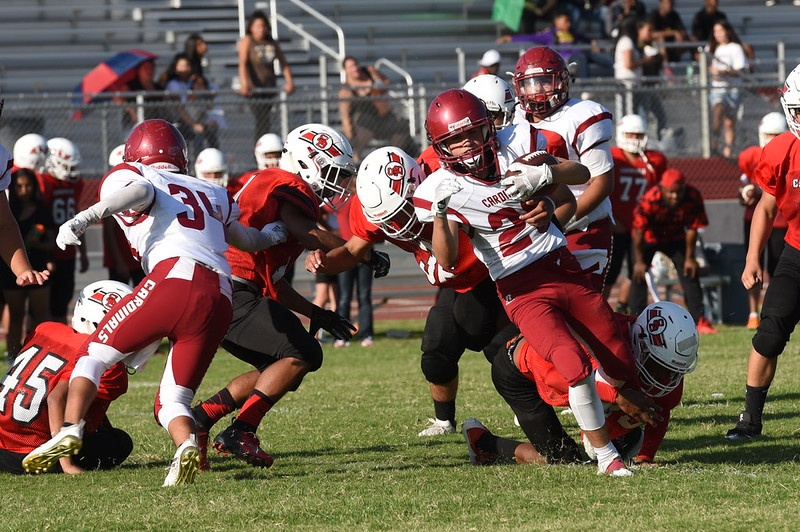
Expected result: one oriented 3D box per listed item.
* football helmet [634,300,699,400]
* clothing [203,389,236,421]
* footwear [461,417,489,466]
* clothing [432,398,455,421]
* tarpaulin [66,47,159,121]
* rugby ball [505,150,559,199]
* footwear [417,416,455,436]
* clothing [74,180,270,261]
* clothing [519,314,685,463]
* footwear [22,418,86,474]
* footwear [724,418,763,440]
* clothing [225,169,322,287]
[{"bbox_3d":[1.844,0.594,8.735,0.451,0.664,0.218,3,7,10],"label":"football helmet"},{"bbox_3d":[-1.280,1.000,9.063,0.179,0.200,0.231,-31,-5,8],"label":"clothing"},{"bbox_3d":[0.529,1.255,9.029,0.132,0.377,0.149,-16,3,-29],"label":"footwear"},{"bbox_3d":[0.340,1.118,9.778,0.162,0.165,0.149,1,1,3],"label":"clothing"},{"bbox_3d":[-3.435,-2.332,15.051,0.892,0.483,0.490,5,8,23],"label":"tarpaulin"},{"bbox_3d":[0.861,-0.649,8.475,0.357,0.302,0.266,-18,46,-12],"label":"rugby ball"},{"bbox_3d":[0.312,1.263,9.754,0.334,0.144,0.114,1,-1,-4],"label":"footwear"},{"bbox_3d":[-1.693,-0.444,8.615,1.176,0.379,0.752,-3,7,10],"label":"clothing"},{"bbox_3d":[1.543,0.785,9.006,1.157,0.897,0.933,41,-4,18],"label":"clothing"},{"bbox_3d":[-2.353,1.206,8.469,0.421,0.156,0.247,-29,21,7],"label":"footwear"},{"bbox_3d":[2.561,1.227,9.286,0.301,0.120,0.114,0,1,-7],"label":"footwear"},{"bbox_3d":[-0.916,-0.306,9.327,0.916,0.402,0.725,4,-17,-8],"label":"clothing"}]
